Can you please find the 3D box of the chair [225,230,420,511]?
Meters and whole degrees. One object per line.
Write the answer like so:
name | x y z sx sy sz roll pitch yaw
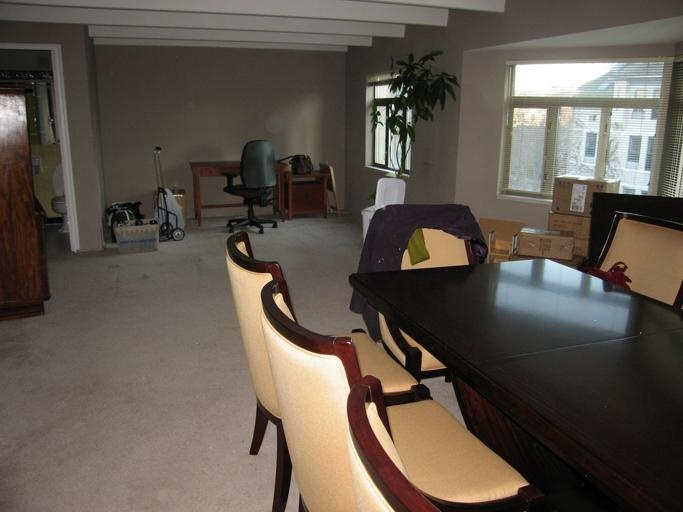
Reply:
chair | -0.309 0.301 2.770 0.955 1.886 0.996 -6 20 -18

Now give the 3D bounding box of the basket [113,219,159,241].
basket | -2.609 -0.303 6.195 0.363 0.172 0.366 -7 16 -35

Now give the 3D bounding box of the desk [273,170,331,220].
desk | -0.643 -1.080 8.613 0.739 0.801 0.621 -4 19 -14

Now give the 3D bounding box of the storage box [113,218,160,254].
storage box | -2.609 -0.213 6.218 0.496 0.354 0.123 -11 17 -34

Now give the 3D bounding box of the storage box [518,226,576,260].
storage box | 1.787 -0.082 4.269 0.457 0.236 0.078 1 14 7

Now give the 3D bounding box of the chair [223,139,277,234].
chair | -1.430 -1.123 7.661 0.789 1.449 0.756 -8 20 -34
